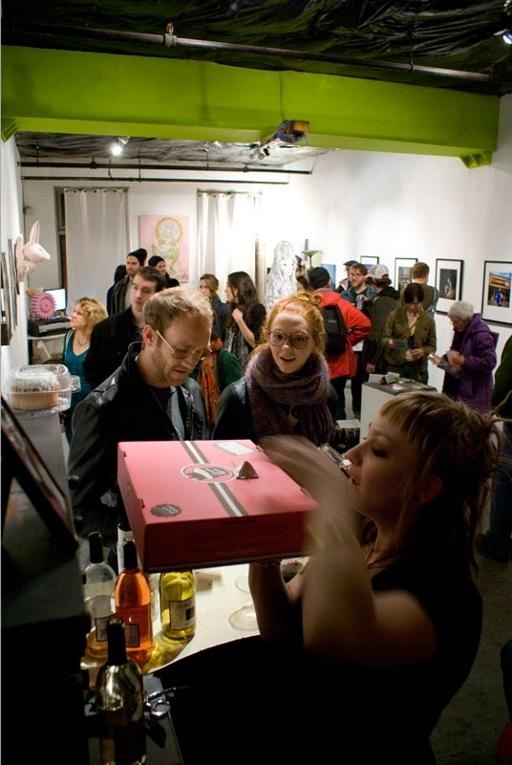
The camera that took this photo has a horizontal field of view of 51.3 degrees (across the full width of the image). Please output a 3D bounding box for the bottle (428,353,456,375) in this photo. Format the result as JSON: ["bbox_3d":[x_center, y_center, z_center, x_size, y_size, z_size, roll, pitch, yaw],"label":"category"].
[{"bbox_3d":[1.786,-0.203,5.099,0.298,0.091,0.130,29,32,-14],"label":"bottle"}]

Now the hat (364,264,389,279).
[{"bbox_3d":[1.574,-1.436,6.854,0.224,0.125,0.312,1,20,0],"label":"hat"}]

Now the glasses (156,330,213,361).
[{"bbox_3d":[-0.230,-0.112,1.666,0.107,0.033,0.104,39,21,27],"label":"glasses"}]

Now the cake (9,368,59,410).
[{"bbox_3d":[-0.597,0.012,1.441,0.099,0.083,0.100,2,8,-2],"label":"cake"}]
